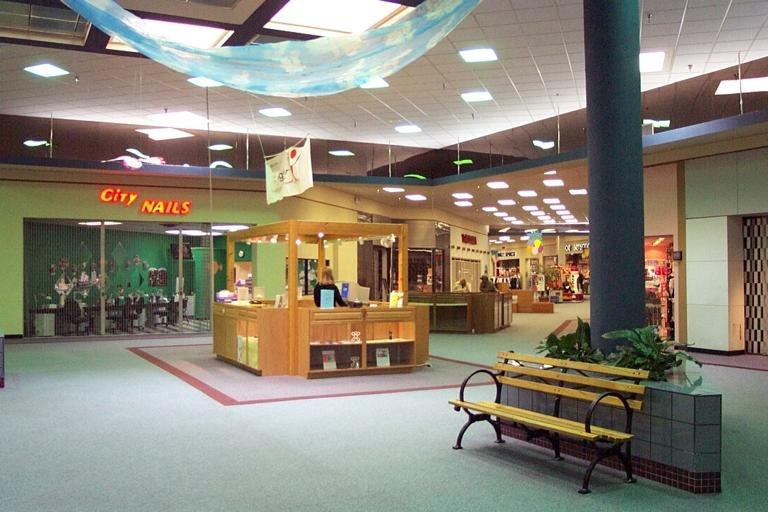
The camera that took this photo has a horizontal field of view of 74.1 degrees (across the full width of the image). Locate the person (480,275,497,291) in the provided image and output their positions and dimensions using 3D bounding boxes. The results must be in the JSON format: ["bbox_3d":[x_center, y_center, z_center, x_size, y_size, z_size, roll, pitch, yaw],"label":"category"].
[{"bbox_3d":[3.743,1.001,18.217,0.584,0.773,0.692,0,-4,3],"label":"person"}]

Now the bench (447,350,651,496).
[{"bbox_3d":[1.865,1.875,6.062,0.996,1.146,2.343,2,-6,-29],"label":"bench"}]

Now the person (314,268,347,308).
[{"bbox_3d":[-1.157,0.673,10.578,0.858,0.944,0.378,1,8,9],"label":"person"}]

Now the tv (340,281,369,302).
[{"bbox_3d":[-0.638,0.778,10.757,0.495,0.446,0.486,-1,-1,2],"label":"tv"}]
